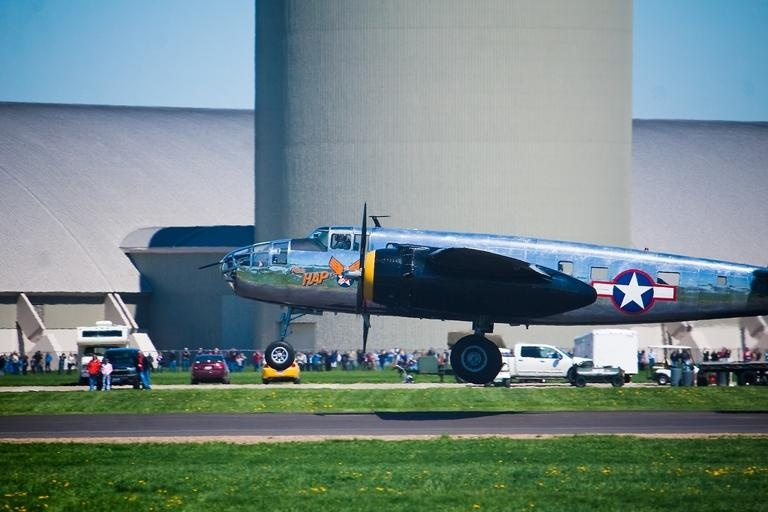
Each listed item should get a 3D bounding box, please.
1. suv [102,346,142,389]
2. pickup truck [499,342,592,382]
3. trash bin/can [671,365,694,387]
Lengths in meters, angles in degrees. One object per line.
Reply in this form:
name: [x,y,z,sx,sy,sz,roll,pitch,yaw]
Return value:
suv: [-20.459,8.699,114.527,2.297,1.912,3.617,0,-12,-7]
pickup truck: [12.475,8.280,117.072,10.326,3.266,4.786,1,-8,-4]
trash bin/can: [23.533,9.652,116.059,1.527,1.262,1.588,1,3,13]
